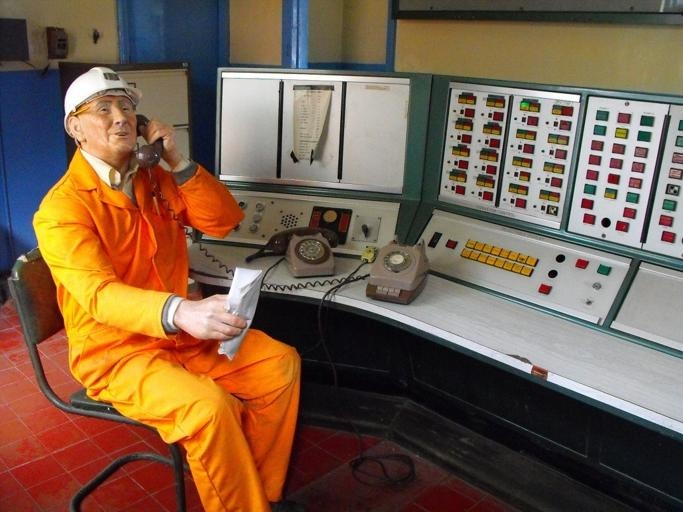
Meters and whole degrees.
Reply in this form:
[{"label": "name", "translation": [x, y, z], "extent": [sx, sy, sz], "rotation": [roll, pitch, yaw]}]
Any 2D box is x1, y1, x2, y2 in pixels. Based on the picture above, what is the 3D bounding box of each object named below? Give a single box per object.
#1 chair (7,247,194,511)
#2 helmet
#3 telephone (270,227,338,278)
[{"label": "chair", "translation": [-0.878, 0.514, 1.912], "extent": [0.546, 1.092, 0.418], "rotation": [4, 22, -1]}, {"label": "helmet", "translation": [-0.922, -0.624, 1.873], "extent": [0.310, 0.164, 0.233], "rotation": [-34, -19, 34]}, {"label": "telephone", "translation": [-0.153, -0.035, 2.233], "extent": [0.252, 0.127, 0.213], "rotation": [-6, 39, -16]}]
